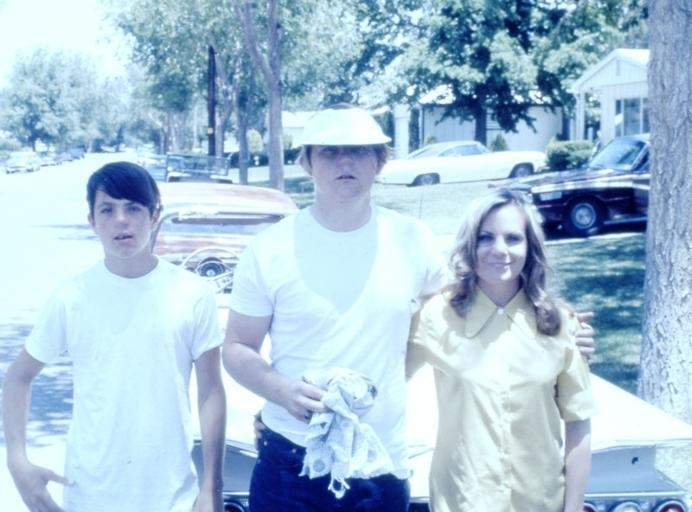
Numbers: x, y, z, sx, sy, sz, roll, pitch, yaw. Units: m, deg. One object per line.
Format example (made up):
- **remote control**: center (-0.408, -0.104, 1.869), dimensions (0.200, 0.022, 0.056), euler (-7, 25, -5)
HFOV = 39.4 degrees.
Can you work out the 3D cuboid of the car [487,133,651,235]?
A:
- **car**: center (3.740, -1.055, 15.120), dimensions (2.936, 1.368, 1.913), euler (-2, 4, -10)
